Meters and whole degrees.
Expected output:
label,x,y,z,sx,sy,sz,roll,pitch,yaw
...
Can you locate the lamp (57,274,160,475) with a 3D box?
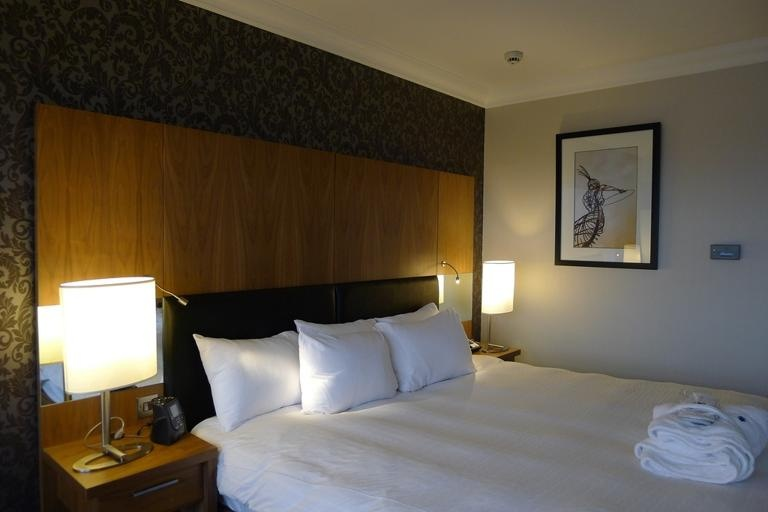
label,x,y,z,sx,sy,sz,roll,pitch,yaw
lamp,-1.505,0.607,3.008,0.497,0.950,0.454,-7,12,-30
